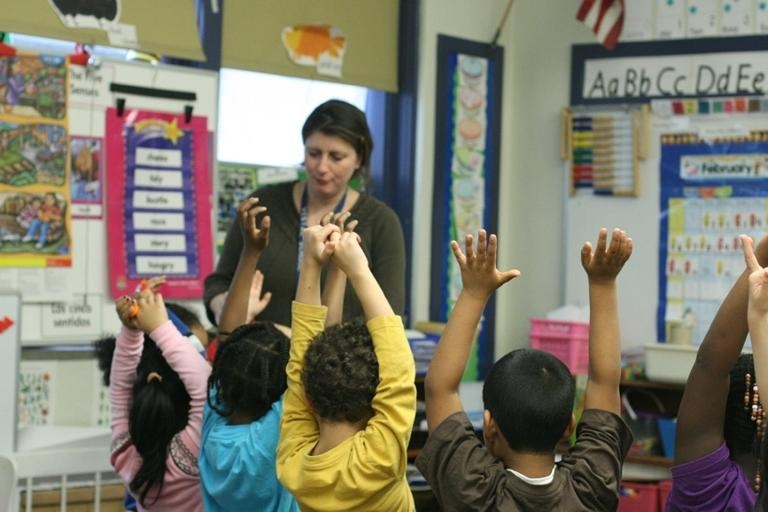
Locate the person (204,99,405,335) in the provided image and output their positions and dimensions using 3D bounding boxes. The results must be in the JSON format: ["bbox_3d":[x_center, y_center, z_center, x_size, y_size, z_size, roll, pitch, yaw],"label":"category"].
[{"bbox_3d":[-0.336,-0.031,4.055,0.771,1.135,0.627,8,10,-20],"label":"person"}]
